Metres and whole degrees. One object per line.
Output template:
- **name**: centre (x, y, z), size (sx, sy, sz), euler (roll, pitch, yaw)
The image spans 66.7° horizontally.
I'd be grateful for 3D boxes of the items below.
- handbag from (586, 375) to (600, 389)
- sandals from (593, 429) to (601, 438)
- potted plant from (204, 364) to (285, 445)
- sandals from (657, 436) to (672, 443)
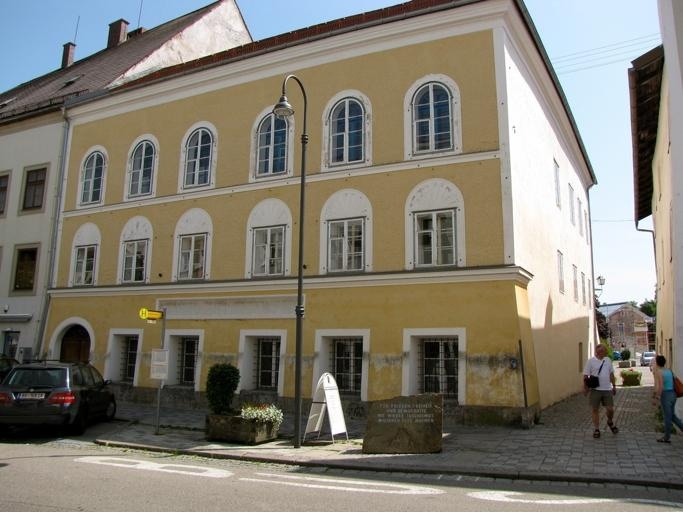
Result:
- **handbag**: centre (6.550, 3.287, 13.625), size (0.442, 0.437, 0.258), euler (-1, -11, 36)
- **sandals**: centre (6.667, 4.658, 13.584), size (0.177, 0.227, 0.398), euler (-7, -17, 25)
- **potted plant**: centre (-2.650, 4.102, 14.553), size (1.966, 2.145, 1.805), euler (-4, -13, 30)
- **sandals**: centre (8.036, 4.605, 13.030), size (0.360, 0.176, 0.142), euler (-1, -12, 25)
